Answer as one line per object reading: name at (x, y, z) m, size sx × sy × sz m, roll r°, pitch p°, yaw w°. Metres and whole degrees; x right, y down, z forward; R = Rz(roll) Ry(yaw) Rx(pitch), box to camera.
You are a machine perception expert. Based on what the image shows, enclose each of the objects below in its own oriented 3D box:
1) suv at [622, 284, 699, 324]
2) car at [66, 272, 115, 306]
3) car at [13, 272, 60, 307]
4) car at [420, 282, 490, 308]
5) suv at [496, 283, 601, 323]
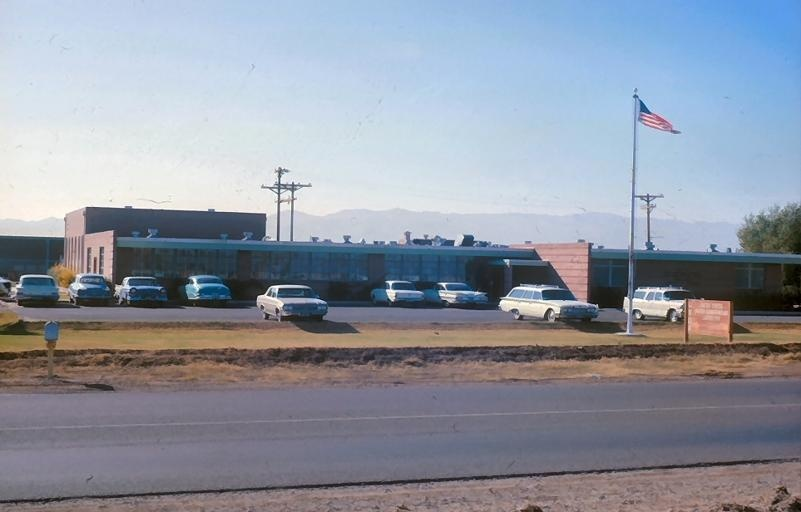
suv at (14.117, 2.535, 67.252) m, size 1.995 × 1.472 × 3.561 m, roll 1°, pitch -2°, yaw -31°
car at (-16.891, 1.828, 67.600) m, size 1.346 × 0.986 × 2.880 m, roll 1°, pitch 3°, yaw -27°
car at (-19.270, 1.914, 66.385) m, size 2.086 × 1.552 × 1.822 m, roll -3°, pitch 14°, yaw -14°
car at (3.079, 2.330, 73.882) m, size 1.575 × 0.860 × 3.270 m, roll 0°, pitch 4°, yaw -27°
suv at (7.542, 2.430, 63.834) m, size 2.033 × 1.296 × 4.322 m, roll 0°, pitch -2°, yaw -26°
